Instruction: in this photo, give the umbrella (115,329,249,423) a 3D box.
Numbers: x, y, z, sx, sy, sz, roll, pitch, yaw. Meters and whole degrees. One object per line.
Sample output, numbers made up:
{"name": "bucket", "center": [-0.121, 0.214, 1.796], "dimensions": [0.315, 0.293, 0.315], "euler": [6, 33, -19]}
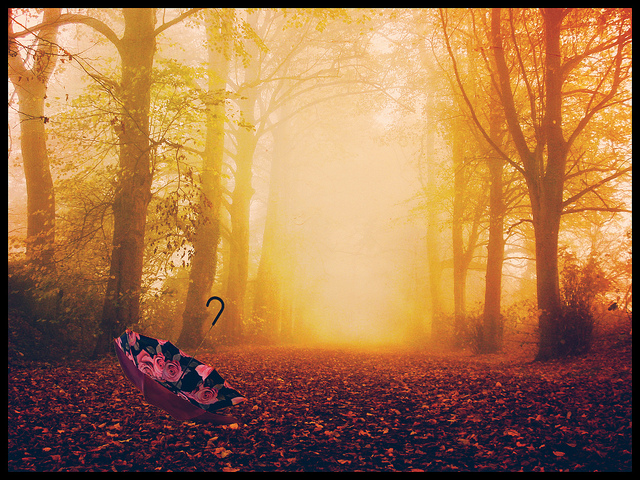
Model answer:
{"name": "umbrella", "center": [-2.955, 2.583, 11.977], "dimensions": [2.086, 0.742, 2.114], "euler": [29, 3, -15]}
